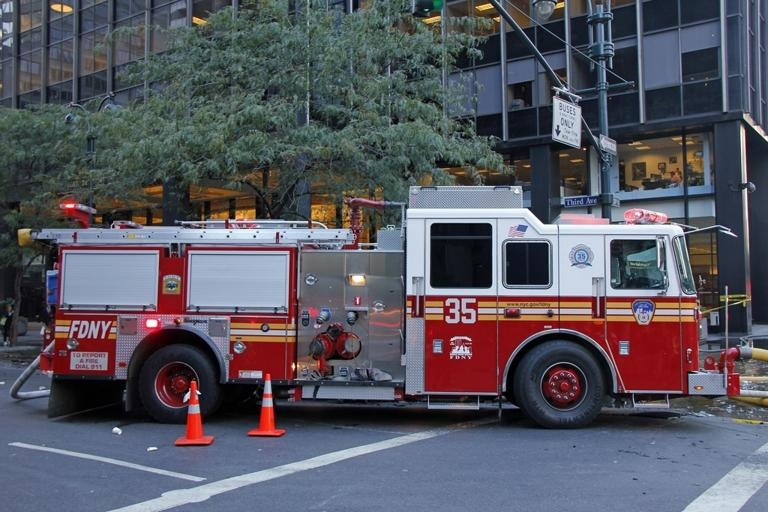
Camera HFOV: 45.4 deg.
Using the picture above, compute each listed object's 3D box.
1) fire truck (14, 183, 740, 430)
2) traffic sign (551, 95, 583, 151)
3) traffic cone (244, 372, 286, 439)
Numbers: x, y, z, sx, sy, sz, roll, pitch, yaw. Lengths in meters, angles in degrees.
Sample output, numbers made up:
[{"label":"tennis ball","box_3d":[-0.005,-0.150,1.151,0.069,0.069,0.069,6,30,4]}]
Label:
[{"label":"fire truck","box_3d":[-0.098,1.280,21.766,17.288,6.662,6.049,-1,-1,0]},{"label":"traffic sign","box_3d":[4.950,-3.640,25.054,0.579,1.365,1.296,7,14,31]},{"label":"traffic cone","box_3d":[-2.597,3.181,19.961,0.757,1.313,0.758,-1,-3,5]}]
